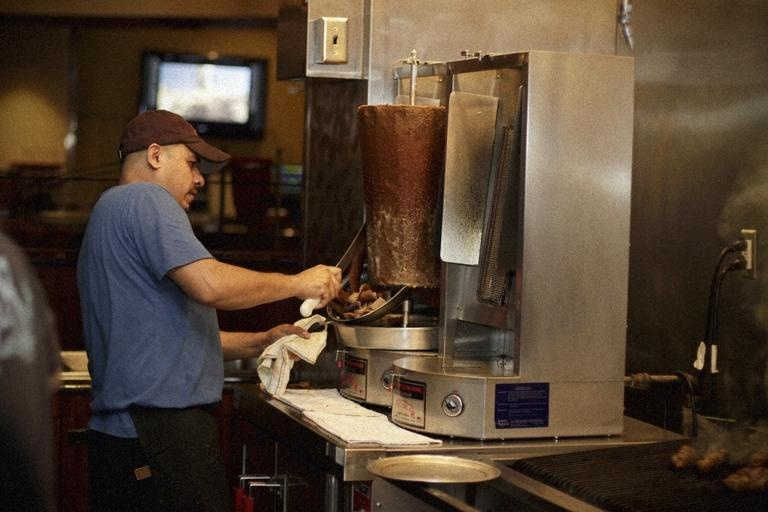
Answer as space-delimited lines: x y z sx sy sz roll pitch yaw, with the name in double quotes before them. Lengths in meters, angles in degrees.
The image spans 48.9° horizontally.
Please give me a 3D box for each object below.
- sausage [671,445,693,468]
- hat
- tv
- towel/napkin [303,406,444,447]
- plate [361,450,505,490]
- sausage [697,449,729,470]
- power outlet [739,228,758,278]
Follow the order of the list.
"sausage" 0.820 0.536 2.319 0.039 0.030 0.069 5 19 30
"hat" -0.668 -0.391 2.708 0.348 0.167 0.218 1 3 -19
"tv" -1.036 -0.950 5.109 0.750 0.497 0.402 3 3 0
"towel/napkin" -0.043 0.500 2.505 0.267 0.031 0.411 0 4 -31
"plate" 0.133 0.557 2.239 0.348 0.037 0.182 2 3 6
"sausage" 0.897 0.549 2.313 0.086 0.032 0.041 -12 43 -14
"power outlet" 1.201 -0.011 2.786 0.014 0.148 0.071 -2 3 -26
